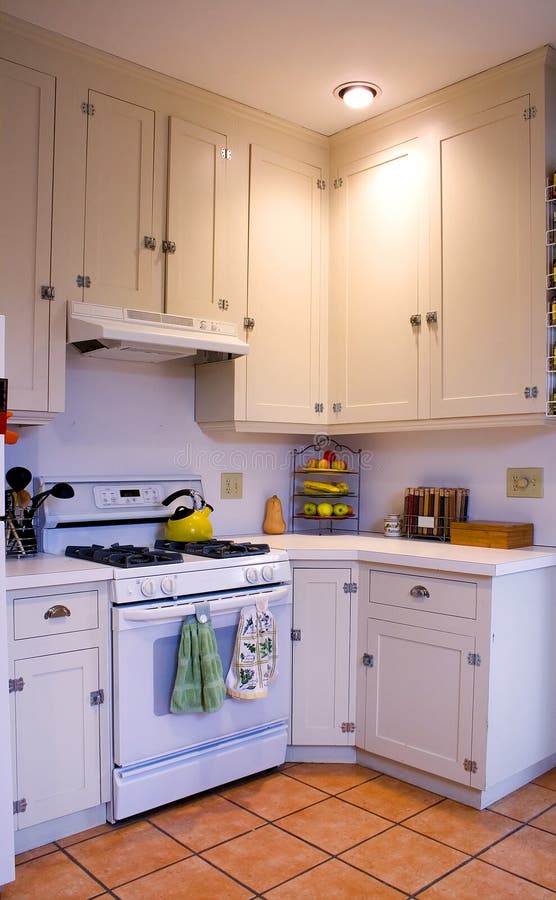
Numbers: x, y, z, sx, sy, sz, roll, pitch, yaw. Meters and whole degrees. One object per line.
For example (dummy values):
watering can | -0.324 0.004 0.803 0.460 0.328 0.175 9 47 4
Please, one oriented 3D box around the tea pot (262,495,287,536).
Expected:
tea pot | -0.020 0.311 3.535 0.140 0.250 0.152 3 -3 0

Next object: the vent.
vent | -0.465 -0.421 2.814 0.693 0.142 0.393 2 -3 -43

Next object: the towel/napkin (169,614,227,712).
towel/napkin | -0.258 0.677 2.416 0.176 0.308 0.045 2 -2 -30

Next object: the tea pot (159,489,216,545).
tea pot | -0.366 0.261 3.029 0.195 0.201 0.313 1 -2 -9

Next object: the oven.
oven | -0.330 0.748 2.671 0.648 0.766 0.552 -3 3 -33

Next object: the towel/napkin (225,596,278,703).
towel/napkin | -0.081 0.680 2.610 0.073 0.330 0.211 4 -5 14

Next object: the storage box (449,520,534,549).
storage box | 0.802 0.322 2.897 0.230 0.090 0.300 2 -3 -44
